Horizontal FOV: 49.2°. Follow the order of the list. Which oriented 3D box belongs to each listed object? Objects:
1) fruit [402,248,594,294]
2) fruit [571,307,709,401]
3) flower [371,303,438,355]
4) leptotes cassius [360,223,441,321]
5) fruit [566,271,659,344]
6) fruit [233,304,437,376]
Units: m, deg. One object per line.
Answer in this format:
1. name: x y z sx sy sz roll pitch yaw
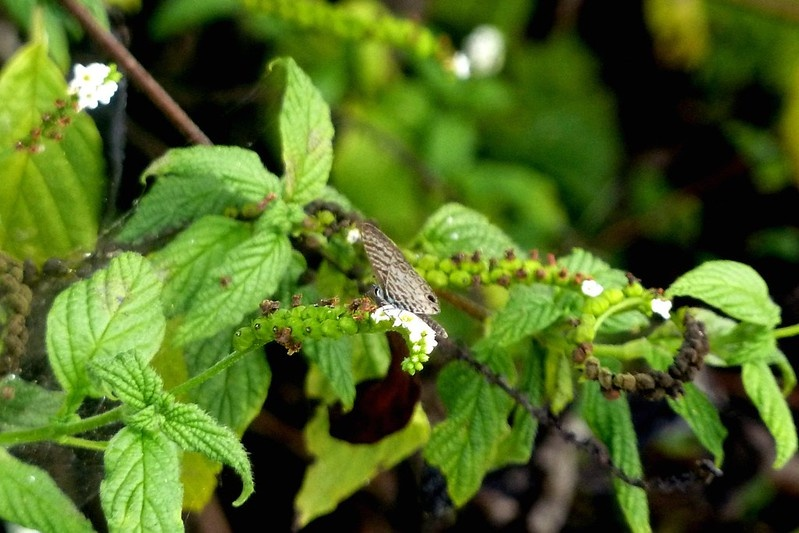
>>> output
1. fruit: 0.163 0.011 1.514 0.271 0.047 0.053 4 68 16
2. fruit: 0.399 0.133 1.410 0.142 0.171 0.062 -23 108 -39
3. flower: 0.007 0.105 1.344 0.086 0.066 0.024 29 112 -10
4. leptotes cassius: -0.002 0.014 1.376 0.061 0.135 0.141 -45 78 19
5. fruit: 0.353 0.068 1.451 0.142 0.038 0.084 -27 84 -11
6. fruit: -0.098 0.097 1.392 0.371 0.117 0.131 1 73 7
